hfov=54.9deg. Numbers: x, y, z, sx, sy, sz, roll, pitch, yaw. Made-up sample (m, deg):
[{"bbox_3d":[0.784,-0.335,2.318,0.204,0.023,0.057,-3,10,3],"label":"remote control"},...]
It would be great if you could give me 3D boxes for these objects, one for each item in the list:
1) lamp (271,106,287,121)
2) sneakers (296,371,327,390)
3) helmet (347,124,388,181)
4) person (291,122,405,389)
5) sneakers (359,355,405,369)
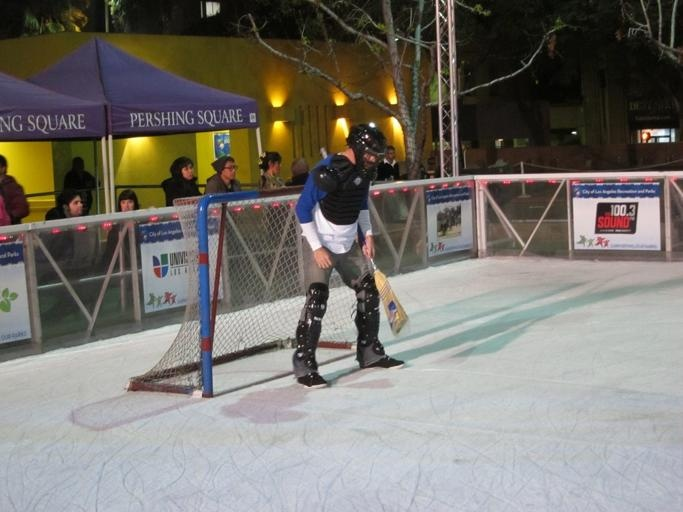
[{"bbox_3d":[-2.200,-5.052,23.232,0.488,0.475,0.475,1,-12,-15],"label":"lamp"},{"bbox_3d":[-0.261,1.096,5.766,0.252,0.106,0.119,-4,-4,39],"label":"sneakers"},{"bbox_3d":[0.221,-0.923,5.761,0.325,0.497,0.349,-5,7,-2],"label":"helmet"},{"bbox_3d":[-0.025,-0.015,5.909,1.019,2.296,0.609,-6,8,-16],"label":"person"},{"bbox_3d":[0.401,1.017,6.290,0.444,0.176,0.152,-3,-4,8],"label":"sneakers"}]
